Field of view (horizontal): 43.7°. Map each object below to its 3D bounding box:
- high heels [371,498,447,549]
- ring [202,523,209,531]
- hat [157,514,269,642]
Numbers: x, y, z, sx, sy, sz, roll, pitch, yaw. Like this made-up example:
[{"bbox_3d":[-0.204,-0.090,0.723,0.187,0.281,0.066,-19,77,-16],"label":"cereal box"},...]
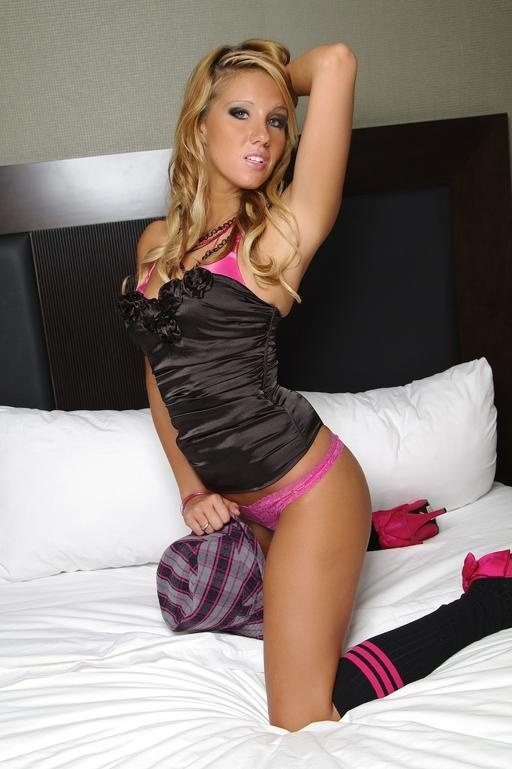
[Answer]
[{"bbox_3d":[0.381,0.364,1.644,0.182,0.065,0.101,-12,78,-2],"label":"high heels"},{"bbox_3d":[-0.103,0.293,1.318,0.006,0.015,0.016,1,11,-44],"label":"ring"},{"bbox_3d":[-0.088,0.398,1.294,0.262,0.181,0.234,8,75,-33],"label":"hat"}]
